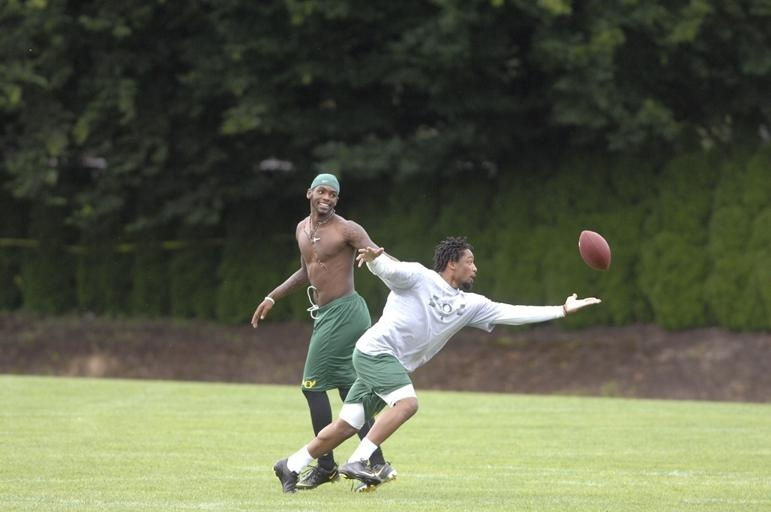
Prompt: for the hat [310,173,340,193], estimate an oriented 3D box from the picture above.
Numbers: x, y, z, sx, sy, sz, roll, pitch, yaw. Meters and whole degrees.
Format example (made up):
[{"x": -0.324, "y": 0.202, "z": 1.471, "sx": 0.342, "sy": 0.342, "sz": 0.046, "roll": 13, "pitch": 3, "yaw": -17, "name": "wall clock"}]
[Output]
[{"x": -1.181, "y": -1.431, "z": 25.725, "sx": 0.522, "sy": 0.376, "sz": 0.458, "roll": 2, "pitch": 12, "yaw": 5, "name": "hat"}]
